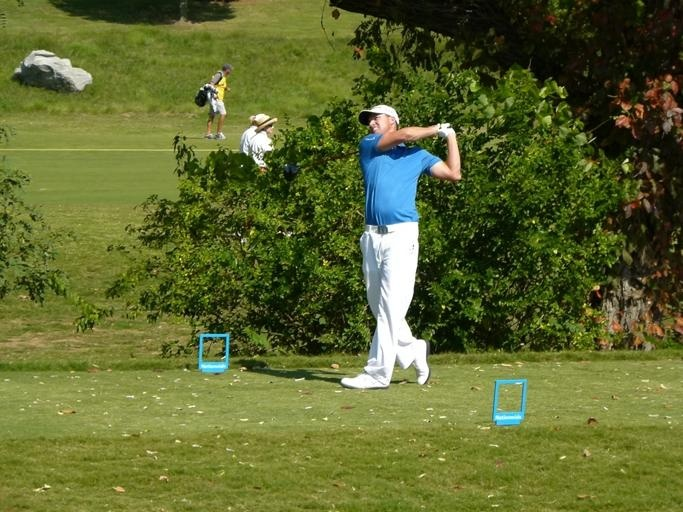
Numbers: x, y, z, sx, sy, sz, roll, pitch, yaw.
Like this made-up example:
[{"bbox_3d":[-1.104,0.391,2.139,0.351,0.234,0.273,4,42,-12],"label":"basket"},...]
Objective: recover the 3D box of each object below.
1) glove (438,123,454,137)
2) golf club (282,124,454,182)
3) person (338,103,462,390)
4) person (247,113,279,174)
[{"bbox_3d":[1.098,-1.281,16.083,0.157,0.134,0.278,2,9,4],"label":"glove"},{"bbox_3d":[0.335,-1.094,16.960,1.797,0.223,0.246,-17,-9,2],"label":"golf club"},{"bbox_3d":[0.538,-0.099,16.346,0.995,2.834,1.266,1,0,39],"label":"person"},{"bbox_3d":[-1.068,-1.547,21.081,0.545,0.948,0.445,-2,12,-8],"label":"person"}]
